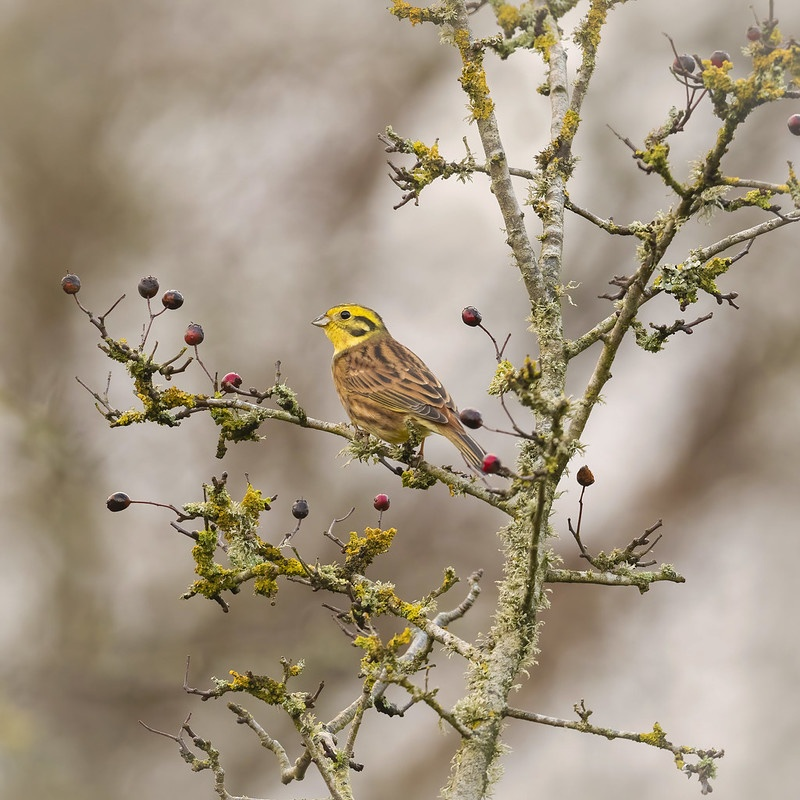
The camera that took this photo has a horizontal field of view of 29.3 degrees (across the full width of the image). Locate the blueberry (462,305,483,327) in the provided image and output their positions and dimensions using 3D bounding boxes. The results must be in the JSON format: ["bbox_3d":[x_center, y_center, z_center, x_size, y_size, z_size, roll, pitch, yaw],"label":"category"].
[{"bbox_3d":[0.395,-0.462,8.590,0.088,0.252,0.133,-9,-74,6],"label":"blueberry"}]

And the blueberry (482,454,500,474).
[{"bbox_3d":[0.438,0.305,7.410,0.085,0.072,0.081,24,-76,7],"label":"blueberry"}]

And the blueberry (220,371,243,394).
[{"bbox_3d":[-0.915,-0.068,8.232,0.090,0.117,0.068,15,-46,11],"label":"blueberry"}]
